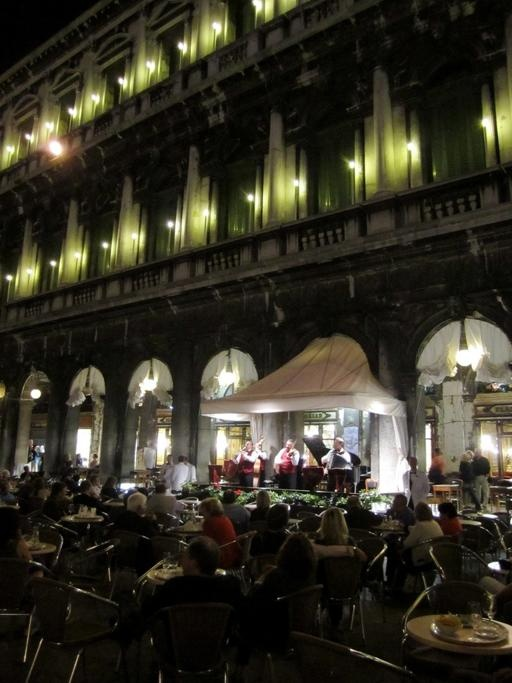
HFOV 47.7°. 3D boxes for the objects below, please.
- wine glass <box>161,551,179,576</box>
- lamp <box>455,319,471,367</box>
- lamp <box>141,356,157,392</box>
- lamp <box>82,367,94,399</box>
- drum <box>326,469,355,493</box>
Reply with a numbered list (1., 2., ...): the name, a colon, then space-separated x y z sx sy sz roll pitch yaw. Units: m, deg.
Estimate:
1. wine glass: -0.752 2.014 5.232 0.168 0.248 0.152 1 -3 -24
2. lamp: 4.212 -0.089 11.758 0.309 1.165 0.305 -2 -4 10
3. lamp: -3.193 1.032 17.106 0.378 0.953 0.994 6 -13 -26
4. lamp: -5.361 1.241 18.547 0.285 0.932 1.138 4 -12 -16
5. drum: 1.755 2.880 11.902 0.418 0.381 0.495 5 -25 -5
